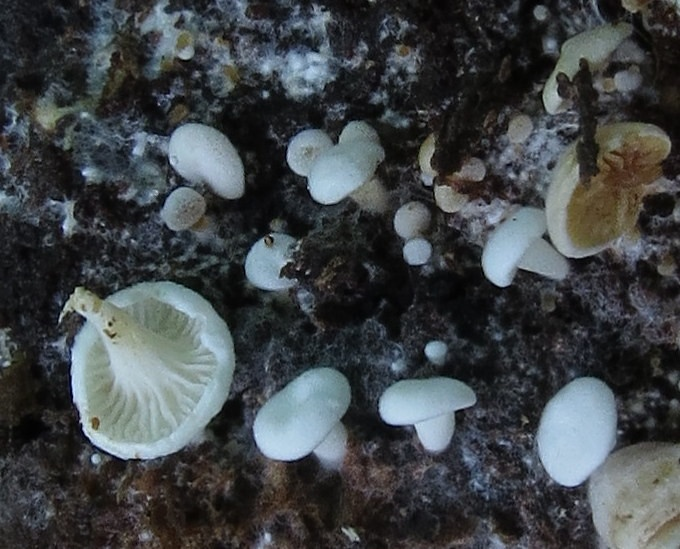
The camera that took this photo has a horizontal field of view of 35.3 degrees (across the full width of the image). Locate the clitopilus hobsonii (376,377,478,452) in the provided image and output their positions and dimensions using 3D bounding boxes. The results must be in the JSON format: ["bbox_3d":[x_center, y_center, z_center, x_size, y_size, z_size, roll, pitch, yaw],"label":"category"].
[{"bbox_3d":[0.461,0.750,5.886,0.336,0.465,0.423,-6,78,15],"label":"clitopilus hobsonii"}]
